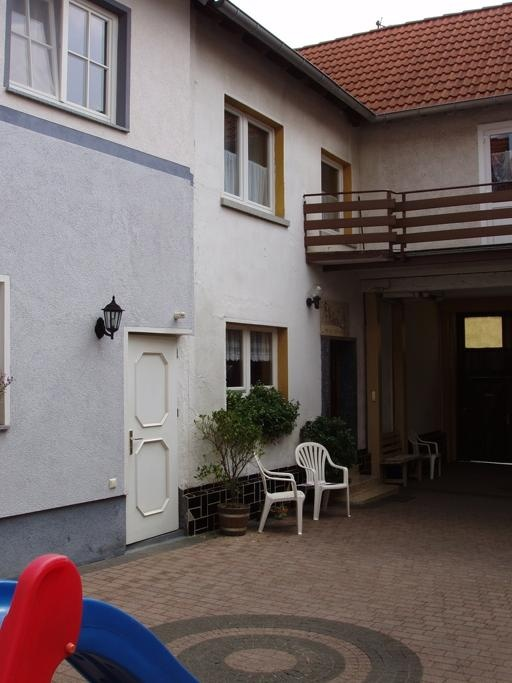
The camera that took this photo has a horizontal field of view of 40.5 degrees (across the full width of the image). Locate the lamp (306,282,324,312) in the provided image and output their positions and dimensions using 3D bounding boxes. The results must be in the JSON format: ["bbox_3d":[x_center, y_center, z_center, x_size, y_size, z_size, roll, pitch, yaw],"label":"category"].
[{"bbox_3d":[0.910,-0.675,10.477,0.139,0.395,0.591,-1,-4,21],"label":"lamp"}]

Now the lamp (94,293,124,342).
[{"bbox_3d":[-1.321,-0.222,6.458,0.224,0.416,0.342,0,-4,20],"label":"lamp"}]

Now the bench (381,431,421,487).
[{"bbox_3d":[2.679,2.095,12.630,0.611,0.852,1.777,0,-4,19],"label":"bench"}]

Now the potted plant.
[{"bbox_3d":[-0.156,1.369,8.544,1.033,2.003,1.567,-3,-6,44],"label":"potted plant"}]

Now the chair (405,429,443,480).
[{"bbox_3d":[3.287,2.212,13.378,0.548,0.818,0.550,4,-10,-38],"label":"chair"}]

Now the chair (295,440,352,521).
[{"bbox_3d":[0.888,1.827,9.180,0.540,1.036,0.653,1,-7,-25],"label":"chair"}]

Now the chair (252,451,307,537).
[{"bbox_3d":[0.303,1.814,8.223,0.566,0.919,0.615,-4,-10,18],"label":"chair"}]
